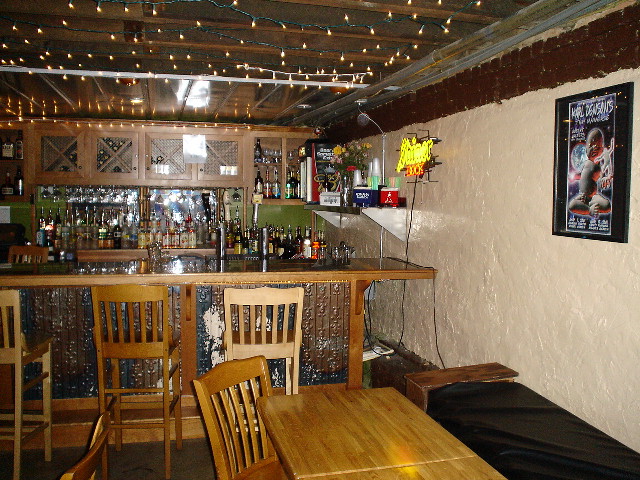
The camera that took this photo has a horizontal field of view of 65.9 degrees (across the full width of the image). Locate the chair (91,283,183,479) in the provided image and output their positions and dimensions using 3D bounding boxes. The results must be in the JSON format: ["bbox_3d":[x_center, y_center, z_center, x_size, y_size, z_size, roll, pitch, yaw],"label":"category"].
[{"bbox_3d":[-1.301,0.958,3.590,0.628,1.335,1.036,-1,2,-22],"label":"chair"}]

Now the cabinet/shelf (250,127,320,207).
[{"bbox_3d":[-0.457,-0.932,6.174,1.114,1.094,0.365,0,2,-11],"label":"cabinet/shelf"}]

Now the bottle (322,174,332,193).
[{"bbox_3d":[0.079,-0.622,5.375,0.097,0.200,0.167,-1,1,1],"label":"bottle"}]

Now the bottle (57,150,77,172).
[{"bbox_3d":[-2.993,-0.943,5.868,0.206,0.273,0.041,-1,2,-7],"label":"bottle"}]

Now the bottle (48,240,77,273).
[{"bbox_3d":[-2.766,0.179,5.269,0.255,0.469,0.254,2,1,0],"label":"bottle"}]

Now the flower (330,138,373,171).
[{"bbox_3d":[0.366,-0.861,5.115,0.391,0.362,0.355,3,0,38],"label":"flower"}]

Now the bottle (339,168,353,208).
[{"bbox_3d":[0.259,-0.518,4.903,0.127,0.389,0.421,-1,1,4],"label":"bottle"}]
